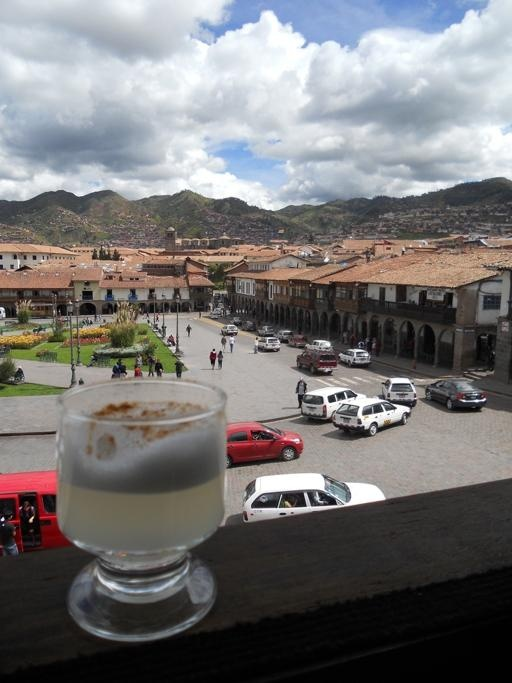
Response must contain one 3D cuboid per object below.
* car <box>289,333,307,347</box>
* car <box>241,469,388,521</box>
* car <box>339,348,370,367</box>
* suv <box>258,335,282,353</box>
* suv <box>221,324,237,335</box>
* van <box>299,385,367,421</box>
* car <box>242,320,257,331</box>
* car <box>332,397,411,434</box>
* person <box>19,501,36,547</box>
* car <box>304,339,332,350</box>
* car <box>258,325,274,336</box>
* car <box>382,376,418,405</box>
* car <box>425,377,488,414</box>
[{"bbox_3d":[4.073,-0.059,48.229,1.131,0.822,1.848,-1,10,-8],"label":"car"},{"bbox_3d":[1.260,3.838,11.860,3.215,0.769,1.429,-2,7,-14],"label":"car"},{"bbox_3d":[7.435,1.260,36.519,1.236,1.338,2.310,-4,8,-29],"label":"car"},{"bbox_3d":[1.026,0.201,45.075,1.241,0.825,2.101,-2,14,-11],"label":"suv"},{"bbox_3d":[-3.125,-1.169,53.522,1.097,0.814,1.831,-3,16,-13],"label":"suv"},{"bbox_3d":[3.678,2.871,22.678,2.911,1.076,1.412,-18,16,-40],"label":"van"},{"bbox_3d":[-0.934,-2.029,62.432,1.215,0.847,1.882,-3,5,-20],"label":"car"},{"bbox_3d":[4.917,3.188,20.339,3.021,1.344,1.228,-4,8,-27],"label":"car"},{"bbox_3d":[-4.449,3.487,9.237,0.315,0.926,0.130,-2,8,-14],"label":"person"},{"bbox_3d":[5.276,0.331,39.753,1.233,0.767,1.778,0,11,-12],"label":"car"},{"bbox_3d":[1.074,-1.101,51.475,0.976,0.716,1.860,-1,11,-16],"label":"car"},{"bbox_3d":[7.352,2.480,24.613,1.162,0.771,1.772,0,16,3],"label":"car"},{"bbox_3d":[10.042,2.698,23.969,1.304,1.260,2.472,-3,7,-21],"label":"car"}]
